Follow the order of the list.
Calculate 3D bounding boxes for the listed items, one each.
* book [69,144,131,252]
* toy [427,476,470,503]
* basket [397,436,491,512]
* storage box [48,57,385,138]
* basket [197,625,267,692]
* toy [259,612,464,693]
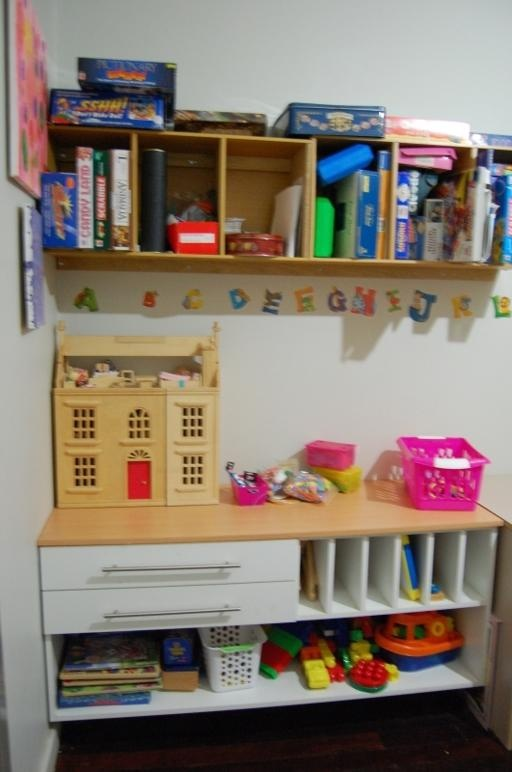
[{"bbox_3d":[-0.378,-0.465,1.654,0.135,0.240,0.035,-1,9,-11],"label":"book"},{"bbox_3d":[0.562,0.297,1.906,0.103,0.032,0.072,1,1,0],"label":"toy"},{"bbox_3d":[0.592,0.282,2.009,0.226,0.148,0.299,1,1,16],"label":"basket"},{"bbox_3d":[-0.105,-0.739,1.774,0.857,0.153,0.208,-1,10,-16],"label":"storage box"},{"bbox_3d":[-0.045,0.772,1.848,0.156,0.112,0.162,-1,-13,-17],"label":"basket"},{"bbox_3d":[0.301,0.776,1.946,0.365,0.108,0.267,-3,12,-3],"label":"toy"}]
